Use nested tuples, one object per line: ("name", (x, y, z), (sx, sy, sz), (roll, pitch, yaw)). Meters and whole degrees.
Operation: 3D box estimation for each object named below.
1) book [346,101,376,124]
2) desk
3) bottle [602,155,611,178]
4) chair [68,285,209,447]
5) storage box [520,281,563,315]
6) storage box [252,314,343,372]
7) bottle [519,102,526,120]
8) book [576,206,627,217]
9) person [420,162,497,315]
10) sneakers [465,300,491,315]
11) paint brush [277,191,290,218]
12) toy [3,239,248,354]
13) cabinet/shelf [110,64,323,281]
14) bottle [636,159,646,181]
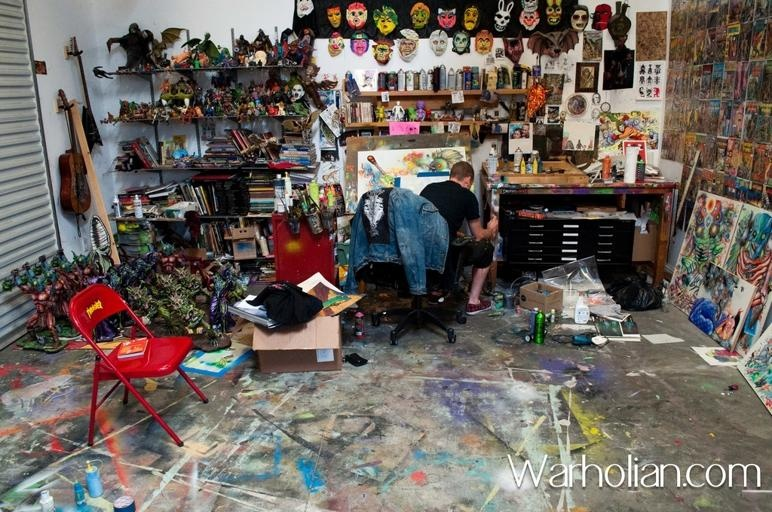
("book", (-0.329, -1.814, 6.058), (0.272, 0.240, 0.143), (5, 28, 7))
("desk", (2.444, -0.345, 6.063), (2.318, 1.438, 1.192), (0, 9, 3))
("bottle", (2.611, -1.050, 5.612), (0.106, 0.241, 0.373), (6, 21, 24))
("chair", (-1.856, 0.773, 3.633), (0.909, 1.031, 0.910), (-11, 20, -42))
("storage box", (1.667, 0.393, 5.033), (0.298, 0.221, 0.395), (-15, 20, -33))
("storage box", (-0.760, 0.792, 3.907), (0.588, 0.359, 0.595), (0, 8, 0))
("bottle", (1.736, -1.838, 6.065), (0.103, 0.211, 0.046), (-8, 21, -13))
("book", (2.522, -0.518, 5.597), (0.558, 0.081, 0.162), (-1, 19, 5))
("person", (0.717, -0.111, 4.818), (0.651, 1.592, 1.047), (5, 21, 20))
("sneakers", (0.999, 0.560, 5.205), (0.295, 0.120, 0.117), (-8, 11, -25))
("paint brush", (-1.141, -0.579, 5.223), (0.176, 0.229, 0.094), (0, 0, 14))
("toy", (-2.721, 0.361, 4.911), (1.676, 0.470, 1.182), (2, 14, -6))
("cabinet/shelf", (-2.088, -1.062, 5.937), (2.816, 2.496, 0.805), (-1, 9, 0))
("bottle", (2.939, -0.980, 5.488), (0.093, 0.217, 0.259), (9, 23, 30))
